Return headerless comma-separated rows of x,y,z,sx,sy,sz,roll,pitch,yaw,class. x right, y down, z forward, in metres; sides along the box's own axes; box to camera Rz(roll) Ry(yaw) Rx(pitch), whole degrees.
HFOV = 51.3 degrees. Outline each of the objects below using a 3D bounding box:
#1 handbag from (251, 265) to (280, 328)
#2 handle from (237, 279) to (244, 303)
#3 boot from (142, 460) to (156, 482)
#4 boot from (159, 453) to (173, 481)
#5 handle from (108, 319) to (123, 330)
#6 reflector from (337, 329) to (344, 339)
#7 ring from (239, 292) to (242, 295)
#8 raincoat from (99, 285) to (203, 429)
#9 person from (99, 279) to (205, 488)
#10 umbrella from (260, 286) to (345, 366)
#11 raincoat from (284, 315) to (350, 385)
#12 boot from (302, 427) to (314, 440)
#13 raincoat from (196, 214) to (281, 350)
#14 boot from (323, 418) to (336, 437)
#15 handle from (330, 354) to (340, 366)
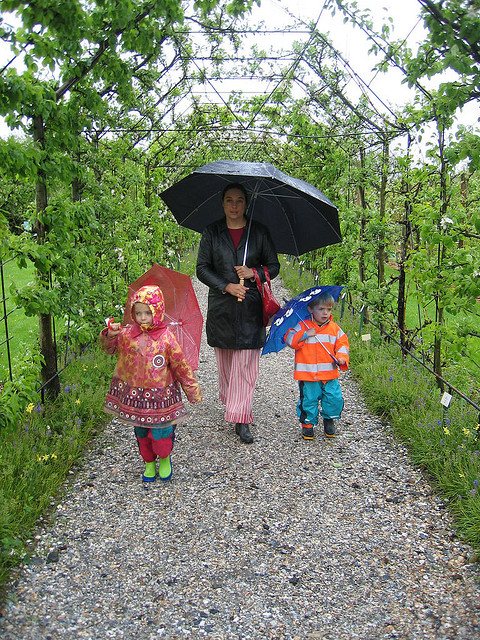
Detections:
0.177,-0.168,3.612,0.208,0.441,0.264,2,10,2,handbag
0.001,-0.209,3.507,0.031,0.158,0.066,5,11,17,handle
-0.559,0.908,3.061,0.080,0.126,0.119,0,10,-11,boot
-0.456,0.879,3.047,0.076,0.183,0.139,0,10,-7,boot
-0.772,0.024,3.079,0.058,0.057,0.014,-34,11,30,handle
0.732,0.100,3.646,0.040,0.065,0.016,14,-19,43,reflector
0.000,-0.186,3.432,0.022,0.022,0.023,-2,3,0,ring
-0.519,0.139,2.926,0.529,0.831,0.498,1,13,-8,raincoat
-0.621,0.325,3.358,0.608,1.208,1.278,-1,11,-16,person
0.437,-0.012,3.579,0.554,0.484,0.253,1,10,-1,umbrella
0.585,0.186,3.730,0.434,0.484,0.418,4,14,20,raincoat
0.498,0.825,3.662,0.087,0.099,0.077,2,10,5,boot
-0.021,-0.270,3.624,0.589,0.970,0.357,2,10,3,raincoat
0.670,0.787,3.730,0.100,0.156,0.100,2,10,4,boot
0.670,0.279,3.539,0.025,0.020,0.096,-22,61,-21,handle
